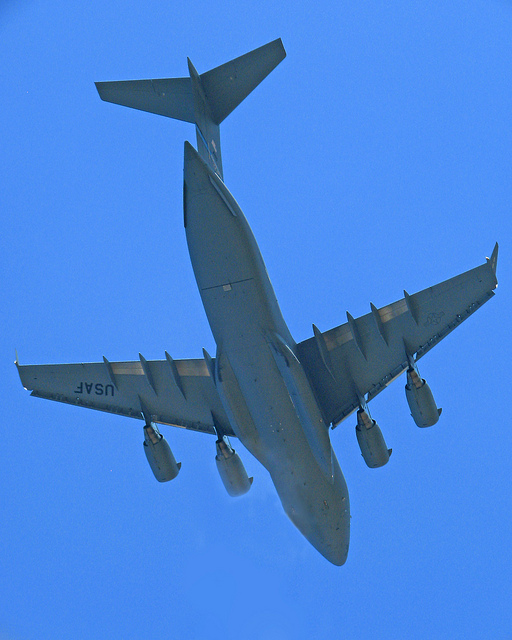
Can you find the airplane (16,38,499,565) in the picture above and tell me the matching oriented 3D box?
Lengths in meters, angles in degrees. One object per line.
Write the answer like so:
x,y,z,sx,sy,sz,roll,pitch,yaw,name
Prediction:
0.066,-0.020,36.497,13.811,6.100,18.198,-9,38,-14,airplane
